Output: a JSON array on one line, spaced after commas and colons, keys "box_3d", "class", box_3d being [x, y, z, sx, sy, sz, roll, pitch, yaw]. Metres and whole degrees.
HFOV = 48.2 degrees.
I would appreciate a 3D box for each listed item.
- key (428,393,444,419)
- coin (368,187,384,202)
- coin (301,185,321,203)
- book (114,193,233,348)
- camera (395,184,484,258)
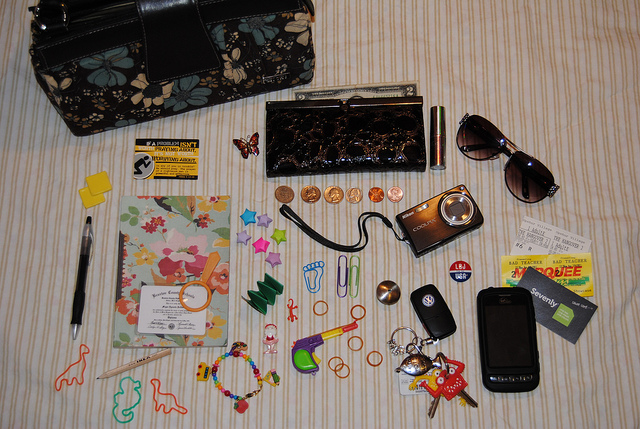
[{"box_3d": [0.510, 0.852, 3.152, 0.027, 0.035, 0.144, 16, 83, -6], "class": "key"}, {"box_3d": [0.263, -0.093, 3.315, 0.067, 0.008, 0.069, -1, 79, 4], "class": "coin"}, {"box_3d": [-0.040, -0.092, 3.318, 0.051, 0.007, 0.061, -20, 86, -1], "class": "coin"}, {"box_3d": [-0.664, 0.287, 3.260, 0.497, 0.059, 0.852, 2, 81, -5], "class": "book"}, {"box_3d": [0.545, 0.028, 3.269, 0.373, 0.073, 0.211, -25, 78, -1], "class": "camera"}]
